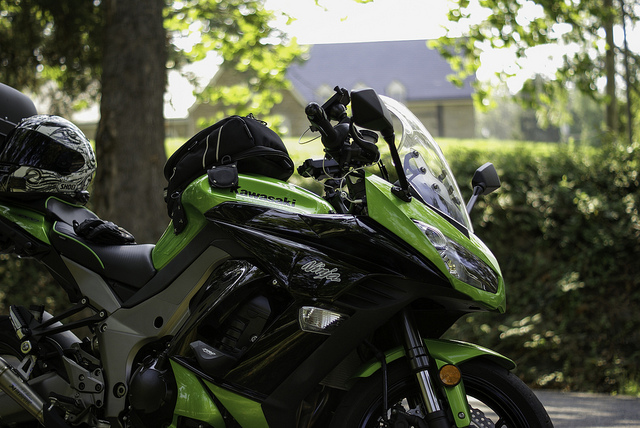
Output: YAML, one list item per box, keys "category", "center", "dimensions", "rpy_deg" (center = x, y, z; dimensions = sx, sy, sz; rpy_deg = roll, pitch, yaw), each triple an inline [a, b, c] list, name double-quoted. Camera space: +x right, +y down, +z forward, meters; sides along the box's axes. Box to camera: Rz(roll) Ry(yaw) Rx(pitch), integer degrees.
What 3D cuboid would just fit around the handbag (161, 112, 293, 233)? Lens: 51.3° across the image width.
- category: "handbag"
  center: [-0.700, -0.275, 5.248]
  dimensions: [0.981, 0.799, 0.818]
  rpy_deg: [-15, -21, 24]
